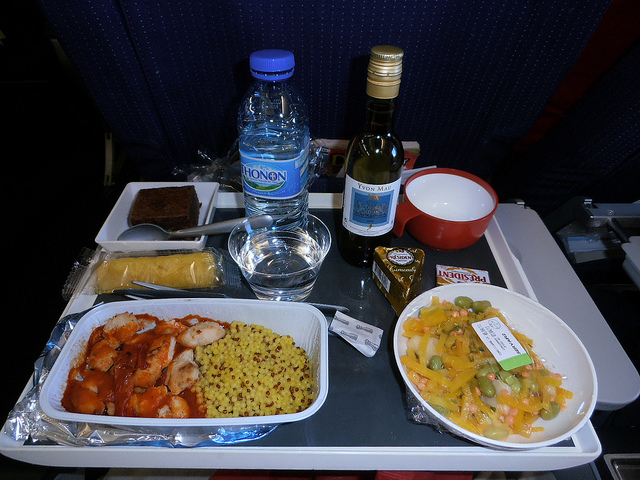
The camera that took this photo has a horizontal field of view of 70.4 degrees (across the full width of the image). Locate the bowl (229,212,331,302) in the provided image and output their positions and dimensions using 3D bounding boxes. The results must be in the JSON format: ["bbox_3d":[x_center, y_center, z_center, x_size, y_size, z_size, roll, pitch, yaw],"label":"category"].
[{"bbox_3d":[-0.110,0.060,1.361,0.251,0.186,0.275,1,49,-1],"label":"bowl"}]

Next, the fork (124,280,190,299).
[{"bbox_3d":[-0.463,0.146,1.303,0.184,0.009,0.059,5,43,-14],"label":"fork"}]

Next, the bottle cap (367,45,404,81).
[{"bbox_3d":[0.165,-0.429,1.108,0.092,0.076,0.098,14,46,16],"label":"bottle cap"}]

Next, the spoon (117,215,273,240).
[{"bbox_3d":[-0.368,-0.038,1.358,0.461,0.098,0.055,-1,54,-3],"label":"spoon"}]

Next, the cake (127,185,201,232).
[{"bbox_3d":[-0.471,-0.097,1.392,0.190,0.104,0.152,2,56,1],"label":"cake"}]

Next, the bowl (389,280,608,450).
[{"bbox_3d":[0.457,0.325,1.173,0.402,0.154,0.426,-2,48,2],"label":"bowl"}]

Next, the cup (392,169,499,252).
[{"bbox_3d":[0.372,-0.073,1.423,0.304,0.146,0.255,-22,55,-12],"label":"cup"}]

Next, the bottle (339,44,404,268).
[{"bbox_3d":[0.156,-0.200,1.258,0.170,0.582,0.304,5,54,2],"label":"bottle"}]
